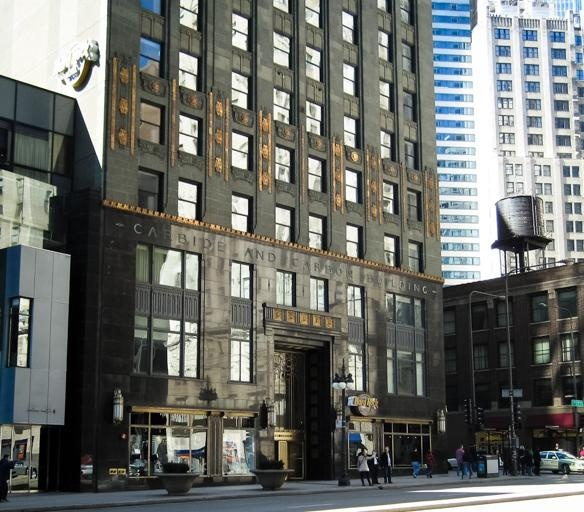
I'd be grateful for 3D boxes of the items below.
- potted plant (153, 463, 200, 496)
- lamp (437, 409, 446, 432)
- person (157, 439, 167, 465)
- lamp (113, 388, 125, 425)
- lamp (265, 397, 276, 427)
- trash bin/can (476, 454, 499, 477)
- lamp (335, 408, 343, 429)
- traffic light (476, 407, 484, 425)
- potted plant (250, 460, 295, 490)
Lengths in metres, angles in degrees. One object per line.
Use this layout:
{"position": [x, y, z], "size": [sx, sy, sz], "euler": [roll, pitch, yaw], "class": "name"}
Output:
{"position": [-5.645, 11.213, 45.090], "size": [2.499, 1.081, 2.754], "euler": [2, -8, -2], "class": "potted plant"}
{"position": [10.922, 11.794, 64.967], "size": [0.774, 1.673, 0.430], "euler": [10, -18, -43], "class": "lamp"}
{"position": [-7.013, 10.627, 49.263], "size": [0.589, 1.276, 0.234], "euler": [2, -13, -18], "class": "person"}
{"position": [-9.100, 7.844, 47.716], "size": [0.685, 1.830, 0.447], "euler": [7, -16, -37], "class": "lamp"}
{"position": [-1.208, 9.361, 54.382], "size": [0.294, 1.824, 0.709], "euler": [-12, -16, 36], "class": "lamp"}
{"position": [12.804, 13.657, 58.719], "size": [0.788, 1.436, 1.931], "euler": [-14, -18, 41], "class": "trash bin/can"}
{"position": [3.061, 10.272, 57.116], "size": [0.329, 1.138, 1.048], "euler": [-1, -14, -5], "class": "lamp"}
{"position": [12.993, 10.876, 61.602], "size": [0.418, 1.090, 0.729], "euler": [-7, -14, 18], "class": "traffic light"}
{"position": [-1.012, 11.620, 48.199], "size": [1.456, 1.243, 1.571], "euler": [5, -23, -17], "class": "potted plant"}
